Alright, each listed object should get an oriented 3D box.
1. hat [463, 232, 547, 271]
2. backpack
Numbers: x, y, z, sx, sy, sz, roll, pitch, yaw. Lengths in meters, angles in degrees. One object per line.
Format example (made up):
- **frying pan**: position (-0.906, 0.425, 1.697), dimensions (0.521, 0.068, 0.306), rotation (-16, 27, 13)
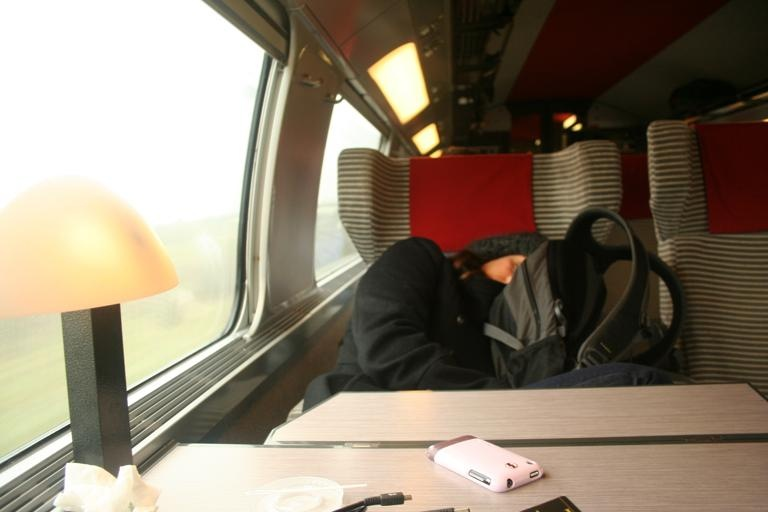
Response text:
- **hat**: position (0.494, -0.036, 2.303), dimensions (0.246, 0.083, 0.181), rotation (-6, -4, -17)
- **backpack**: position (0.556, 0.153, 1.802), dimensions (0.471, 0.610, 0.667), rotation (-5, 5, -39)
